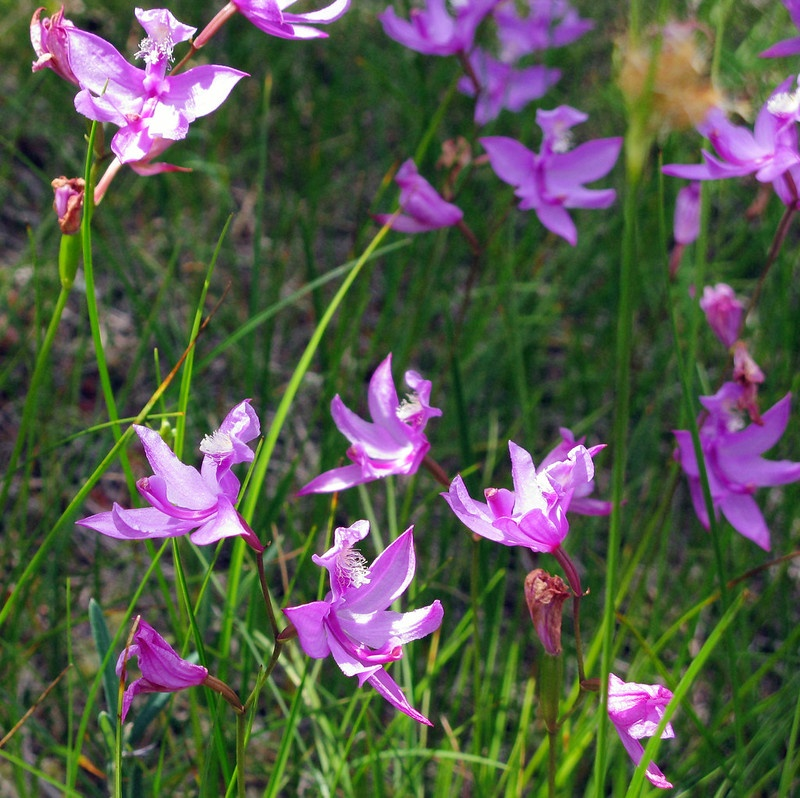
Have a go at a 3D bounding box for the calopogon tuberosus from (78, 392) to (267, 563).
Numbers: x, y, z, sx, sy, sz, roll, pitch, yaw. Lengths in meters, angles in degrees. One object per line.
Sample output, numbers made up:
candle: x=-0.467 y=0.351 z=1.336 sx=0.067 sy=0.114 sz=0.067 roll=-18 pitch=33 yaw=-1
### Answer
calopogon tuberosus: x=-0.224 y=0.081 z=1.106 sx=0.183 sy=0.125 sz=0.141 roll=6 pitch=57 yaw=-1

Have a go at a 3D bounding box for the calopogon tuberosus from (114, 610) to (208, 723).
calopogon tuberosus: x=-0.238 y=0.270 z=1.097 sx=0.079 sy=0.102 sz=0.108 roll=10 pitch=44 yaw=-15

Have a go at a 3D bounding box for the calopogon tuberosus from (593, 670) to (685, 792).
calopogon tuberosus: x=0.247 y=0.345 z=1.139 sx=0.100 sy=0.044 sz=0.113 roll=35 pitch=88 yaw=18

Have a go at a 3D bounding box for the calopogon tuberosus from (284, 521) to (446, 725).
calopogon tuberosus: x=-0.022 y=0.209 z=1.098 sx=0.159 sy=0.115 sz=0.172 roll=22 pitch=60 yaw=8

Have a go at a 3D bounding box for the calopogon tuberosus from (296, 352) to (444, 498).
calopogon tuberosus: x=-0.030 y=0.000 z=1.268 sx=0.138 sy=0.068 sz=0.176 roll=-47 pitch=55 yaw=19

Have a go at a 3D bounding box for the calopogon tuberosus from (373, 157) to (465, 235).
calopogon tuberosus: x=0.027 y=-0.218 z=1.310 sx=0.079 sy=0.037 sz=0.084 roll=-36 pitch=50 yaw=-13

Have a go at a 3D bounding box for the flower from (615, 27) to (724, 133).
flower: x=0.244 y=-0.254 z=0.990 sx=0.083 sy=0.039 sz=0.128 roll=-31 pitch=109 yaw=-19
